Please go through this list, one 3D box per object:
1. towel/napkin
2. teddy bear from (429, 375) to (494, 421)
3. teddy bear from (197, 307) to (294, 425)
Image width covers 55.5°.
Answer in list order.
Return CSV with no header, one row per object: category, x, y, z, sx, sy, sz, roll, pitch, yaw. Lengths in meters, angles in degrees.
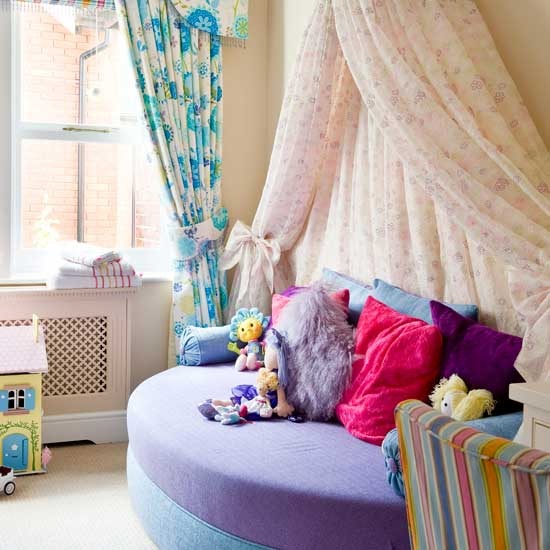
towel/napkin,-0.996,-0.043,2.643,0.521,0.231,0.353,2,4,32
teddy bear,0.503,0.351,1.427,0.105,0.103,0.196,-10,9,-21
teddy bear,-0.084,0.330,1.961,0.300,0.396,0.311,-1,-4,12
